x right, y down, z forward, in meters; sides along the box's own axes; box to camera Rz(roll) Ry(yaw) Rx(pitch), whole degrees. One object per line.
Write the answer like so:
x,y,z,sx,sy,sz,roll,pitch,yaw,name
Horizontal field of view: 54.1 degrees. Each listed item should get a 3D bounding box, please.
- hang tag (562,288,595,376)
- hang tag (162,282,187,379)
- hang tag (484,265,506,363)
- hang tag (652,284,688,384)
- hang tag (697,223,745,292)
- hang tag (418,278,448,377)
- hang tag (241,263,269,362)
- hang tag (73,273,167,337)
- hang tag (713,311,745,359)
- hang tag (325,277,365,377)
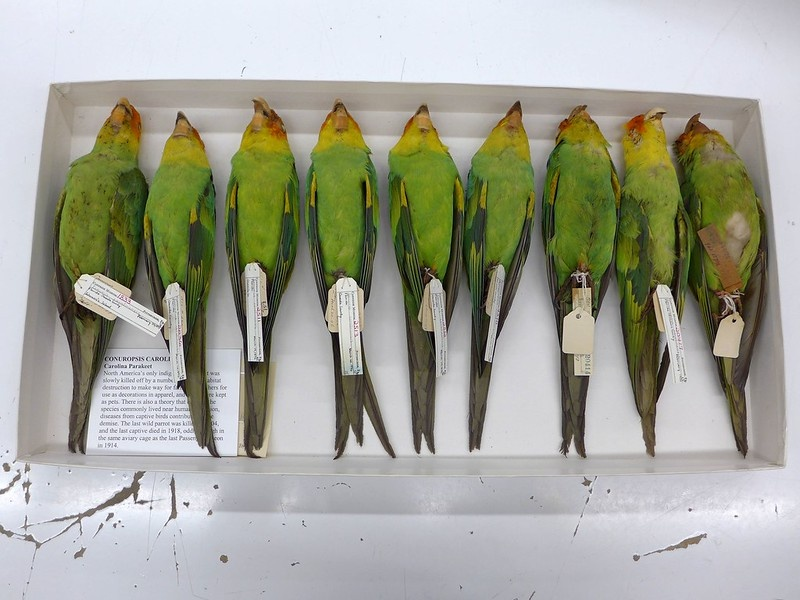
0.653,0.122,2.825,0.115,0.390,0.023,1,35,14,hang tag
-0.792,0.127,2.767,0.083,0.388,0.013,-16,27,-38,hang tag
0.341,0.046,2.791,0.057,0.338,0.060,1,-2,14,hang tag
0.983,0.136,2.806,0.089,0.439,0.100,-1,-37,8,hang tag
1.180,-0.131,2.846,0.089,0.017,0.374,-3,44,8,hang tag
0.121,0.093,2.759,0.096,0.337,0.056,1,-2,-7,hang tag
-0.512,0.042,2.765,0.094,0.341,0.071,2,-2,-16,hang tag
-0.985,0.011,2.743,0.335,0.200,0.074,2,-2,11,hang tag
1.209,0.124,2.845,0.089,0.214,0.015,5,38,12,hang tag
-0.171,0.091,2.725,0.134,0.453,0.031,1,-34,-13,hang tag
